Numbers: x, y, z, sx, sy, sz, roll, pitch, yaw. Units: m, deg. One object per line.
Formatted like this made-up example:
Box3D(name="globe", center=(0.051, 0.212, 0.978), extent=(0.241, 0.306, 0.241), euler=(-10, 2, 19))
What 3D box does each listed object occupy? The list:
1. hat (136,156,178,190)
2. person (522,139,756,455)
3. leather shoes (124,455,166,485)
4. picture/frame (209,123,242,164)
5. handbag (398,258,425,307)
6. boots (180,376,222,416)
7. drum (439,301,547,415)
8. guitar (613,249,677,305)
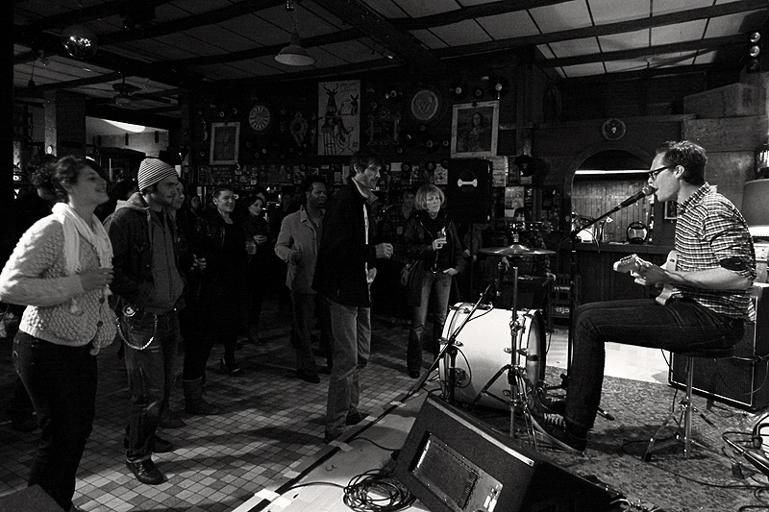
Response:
Box3D(name="hat", center=(-1.957, -0.722, 5.099), extent=(0.289, 0.257, 0.273), euler=(3, 6, -14))
Box3D(name="person", center=(2.286, 0.361, 4.932), extent=(1.472, 2.640, 0.508), euler=(1, 8, 5))
Box3D(name="leather shoes", center=(-1.939, 1.771, 4.887), extent=(0.400, 0.166, 0.154), euler=(11, 4, 21))
Box3D(name="picture/frame", center=(-3.261, -2.391, 12.271), extent=(0.881, 1.024, 0.050), euler=(1, 1, 23))
Box3D(name="handbag", center=(0.372, 0.312, 6.857), extent=(0.300, 0.493, 0.195), euler=(11, 9, 41))
Box3D(name="boots", center=(-1.744, 1.404, 5.883), extent=(0.504, 0.474, 0.244), euler=(0, 2, -17))
Box3D(name="drum", center=(1.142, 0.884, 6.002), extent=(0.960, 1.216, 1.181), euler=(9, 9, 32))
Box3D(name="guitar", center=(2.223, 0.141, 4.906), extent=(0.792, 0.192, 0.399), euler=(16, 11, -27))
